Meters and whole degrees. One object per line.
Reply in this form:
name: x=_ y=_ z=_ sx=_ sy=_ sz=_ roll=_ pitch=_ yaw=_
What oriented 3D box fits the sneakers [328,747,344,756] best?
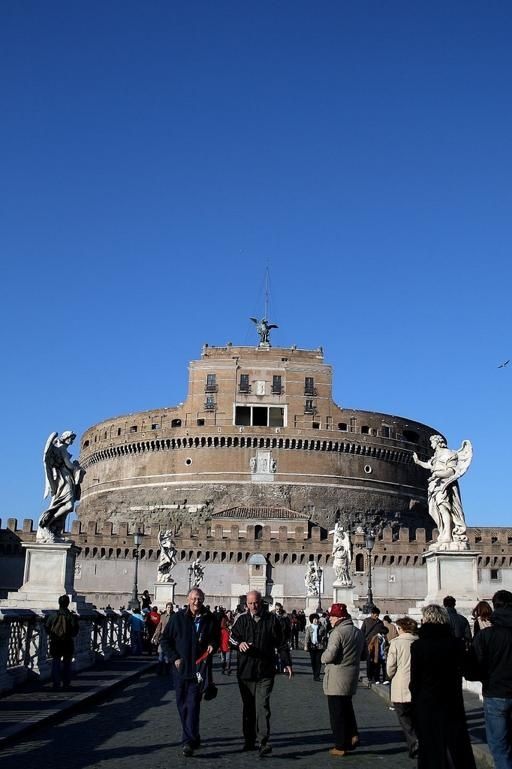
sneakers: x=0.706 y=3.222 z=7.610 sx=0.122 sy=0.051 sz=0.049 roll=7 pitch=-15 yaw=19

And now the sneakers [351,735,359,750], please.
sneakers: x=0.890 y=3.260 z=7.894 sx=0.095 sy=0.110 sz=0.124 roll=0 pitch=-19 yaw=0

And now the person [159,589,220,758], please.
person: x=-0.626 y=2.604 z=7.763 sx=0.494 sy=1.219 sz=0.840 roll=-3 pitch=-14 yaw=6

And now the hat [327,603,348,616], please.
hat: x=0.826 y=2.237 z=8.609 sx=0.173 sy=0.123 sz=0.228 roll=3 pitch=5 yaw=7

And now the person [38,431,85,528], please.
person: x=-3.535 y=1.838 z=15.753 sx=0.752 sy=1.854 sz=0.922 roll=2 pitch=-15 yaw=-14

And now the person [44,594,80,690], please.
person: x=-2.630 y=3.463 z=11.698 sx=0.406 sy=1.198 sz=0.645 roll=2 pitch=-15 yaw=-13

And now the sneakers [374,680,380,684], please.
sneakers: x=2.122 y=5.206 z=15.137 sx=0.099 sy=0.047 sz=0.194 roll=7 pitch=-10 yaw=17
